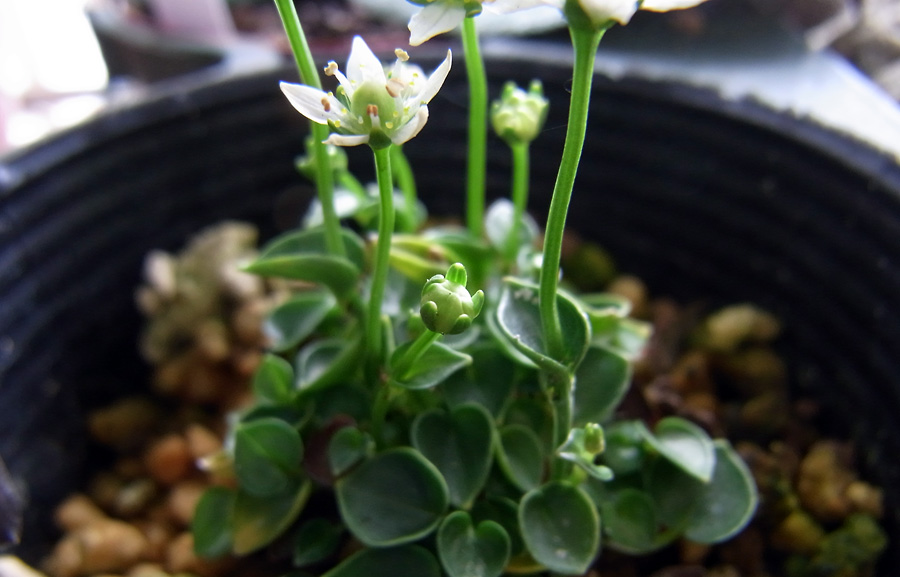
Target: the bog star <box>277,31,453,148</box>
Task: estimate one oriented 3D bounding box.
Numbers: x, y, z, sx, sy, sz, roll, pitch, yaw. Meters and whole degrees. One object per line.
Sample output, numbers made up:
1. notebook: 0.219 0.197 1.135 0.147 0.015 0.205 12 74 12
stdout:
1. bog star: -0.089 -0.191 0.878 0.152 0.177 0.093 -12 94 -16
